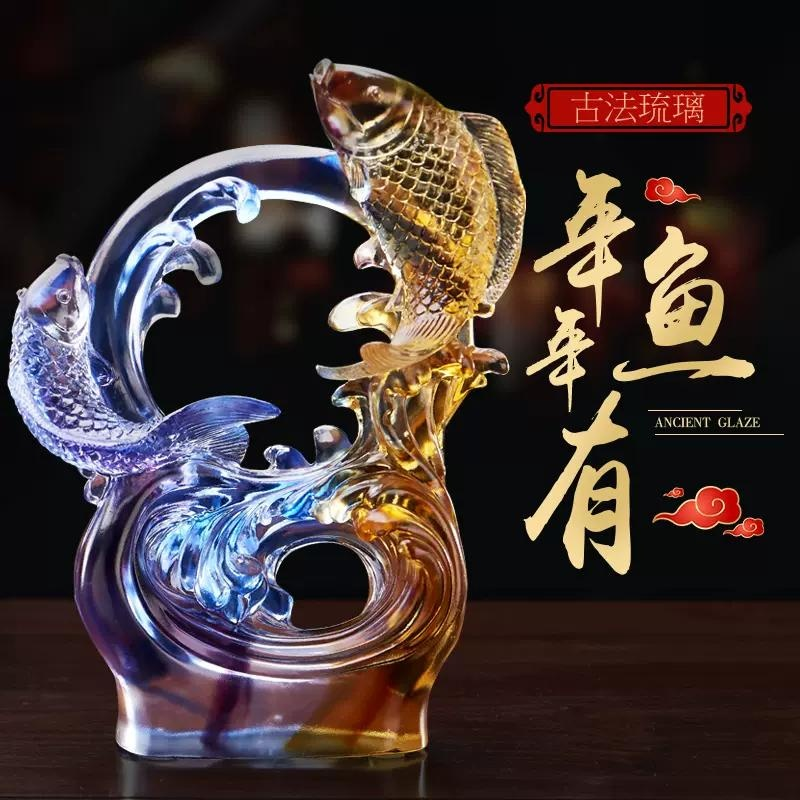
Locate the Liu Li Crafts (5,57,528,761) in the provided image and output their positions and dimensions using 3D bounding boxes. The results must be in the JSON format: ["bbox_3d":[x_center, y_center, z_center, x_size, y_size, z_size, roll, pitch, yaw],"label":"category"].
[{"bbox_3d":[-0.230,0.028,2.062,0.745,0.282,1.092,10,82,7],"label":"Liu Li Crafts"}]
